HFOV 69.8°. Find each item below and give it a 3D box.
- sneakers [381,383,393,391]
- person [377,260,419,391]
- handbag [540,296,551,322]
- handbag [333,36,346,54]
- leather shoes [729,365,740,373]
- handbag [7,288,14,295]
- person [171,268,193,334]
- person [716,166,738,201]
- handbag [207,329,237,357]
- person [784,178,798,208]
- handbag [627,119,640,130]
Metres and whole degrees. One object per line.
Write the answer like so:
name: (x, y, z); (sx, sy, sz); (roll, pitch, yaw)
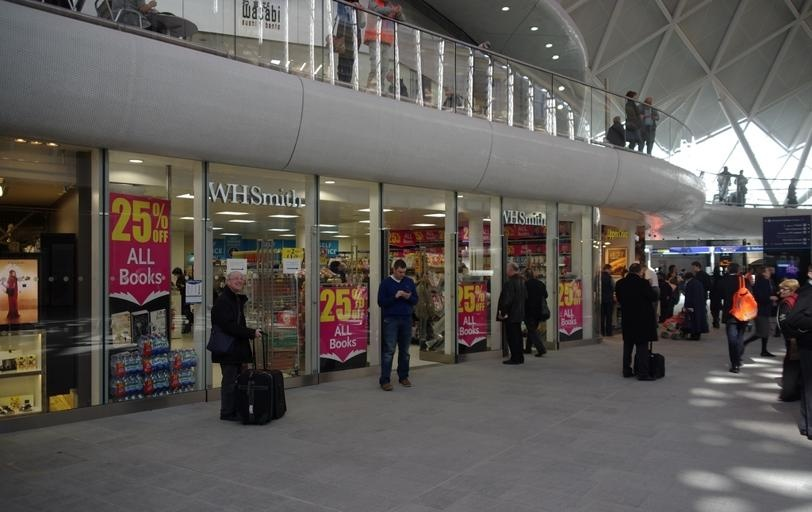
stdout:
sneakers: (-0.361, 2.502, 11.181); (0.215, 0.113, 0.174); (0, 6, -3)
person: (-0.208, 1.334, 11.415); (0.702, 2.511, 0.958); (3, 7, 22)
handbag: (3.527, 1.346, 14.752); (0.243, 0.714, 0.746); (-2, -5, 10)
handbag: (-1.341, -4.209, 11.655); (0.084, 0.299, 0.322); (5, 11, 38)
leather shoes: (7.307, 2.498, 12.907); (0.138, 0.123, 0.286); (3, 5, 29)
handbag: (-6.341, 0.570, 9.314); (0.105, 0.091, 0.055); (1, 8, -16)
person: (-3.980, 0.788, 10.382); (0.315, 1.160, 0.140); (2, 6, 12)
person: (15.875, -3.407, 28.978); (0.405, 1.503, 1.544); (6, 8, 42)
handbag: (-3.007, 1.379, 9.402); (0.437, 0.449, 0.153); (2, 6, 14)
person: (20.022, -3.203, 30.092); (0.532, 1.464, 0.307); (3, 7, 21)
handbag: (6.614, -3.829, 16.910); (0.787, 0.347, 0.132); (-5, 8, -42)
